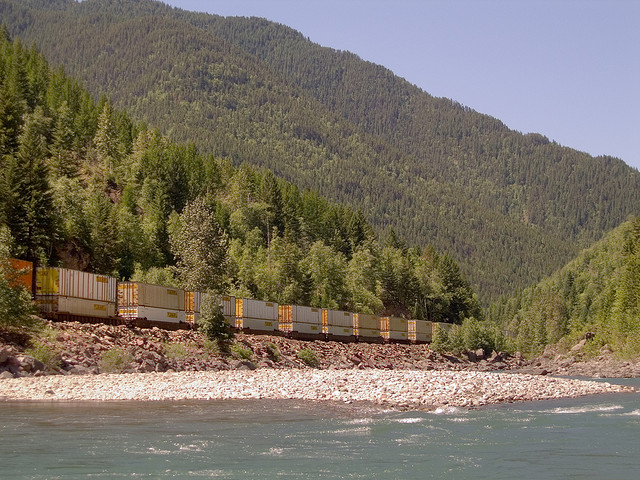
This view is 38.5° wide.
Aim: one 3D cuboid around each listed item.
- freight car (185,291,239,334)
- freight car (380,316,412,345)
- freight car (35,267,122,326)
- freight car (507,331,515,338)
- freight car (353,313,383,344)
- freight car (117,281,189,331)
[{"bbox_3d":[-11.187,7.435,97.622,5.977,4.189,2.267,6,-13,12],"label":"freight car"},{"bbox_3d":[10.526,12.767,128.771,1.272,5.158,9.254,5,9,27],"label":"freight car"},{"bbox_3d":[-23.251,5.517,88.614,3.441,5.283,9.495,-5,-10,26],"label":"freight car"},{"bbox_3d":[49.812,24.305,238.532,1.510,0.903,7.896,3,9,8],"label":"freight car"},{"bbox_3d":[6.383,11.559,121.632,1.248,4.710,7.093,5,9,30],"label":"freight car"},{"bbox_3d":[-16.984,6.645,93.619,2.265,4.173,7.613,-4,-10,29],"label":"freight car"}]
